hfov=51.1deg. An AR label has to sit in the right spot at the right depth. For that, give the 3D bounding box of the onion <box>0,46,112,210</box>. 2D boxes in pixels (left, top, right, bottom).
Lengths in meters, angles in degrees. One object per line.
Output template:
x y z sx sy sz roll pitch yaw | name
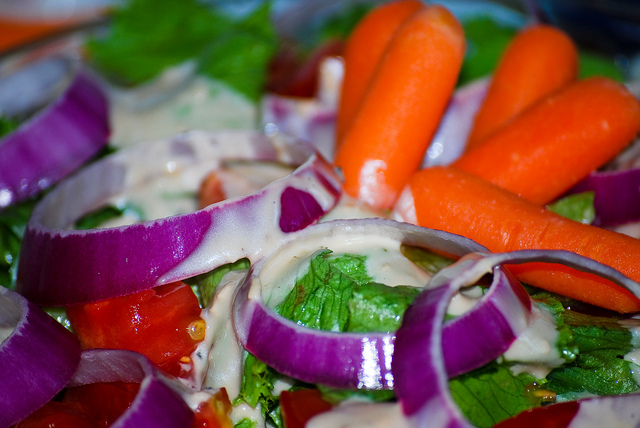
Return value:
-0.786 -0.247 2.000 0.309 0.160 0.424 -5 39 49 | onion

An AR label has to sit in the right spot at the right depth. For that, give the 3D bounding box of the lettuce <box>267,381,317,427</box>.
-0.049 0.456 1.563 0.121 0.041 0.099 -49 18 -5 | lettuce

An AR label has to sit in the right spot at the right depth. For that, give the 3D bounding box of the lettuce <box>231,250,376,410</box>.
0.017 0.263 1.505 0.288 0.095 0.368 -20 44 -28 | lettuce

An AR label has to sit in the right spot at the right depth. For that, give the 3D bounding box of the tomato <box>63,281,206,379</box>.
-0.445 0.262 1.615 0.280 0.121 0.218 12 38 4 | tomato
